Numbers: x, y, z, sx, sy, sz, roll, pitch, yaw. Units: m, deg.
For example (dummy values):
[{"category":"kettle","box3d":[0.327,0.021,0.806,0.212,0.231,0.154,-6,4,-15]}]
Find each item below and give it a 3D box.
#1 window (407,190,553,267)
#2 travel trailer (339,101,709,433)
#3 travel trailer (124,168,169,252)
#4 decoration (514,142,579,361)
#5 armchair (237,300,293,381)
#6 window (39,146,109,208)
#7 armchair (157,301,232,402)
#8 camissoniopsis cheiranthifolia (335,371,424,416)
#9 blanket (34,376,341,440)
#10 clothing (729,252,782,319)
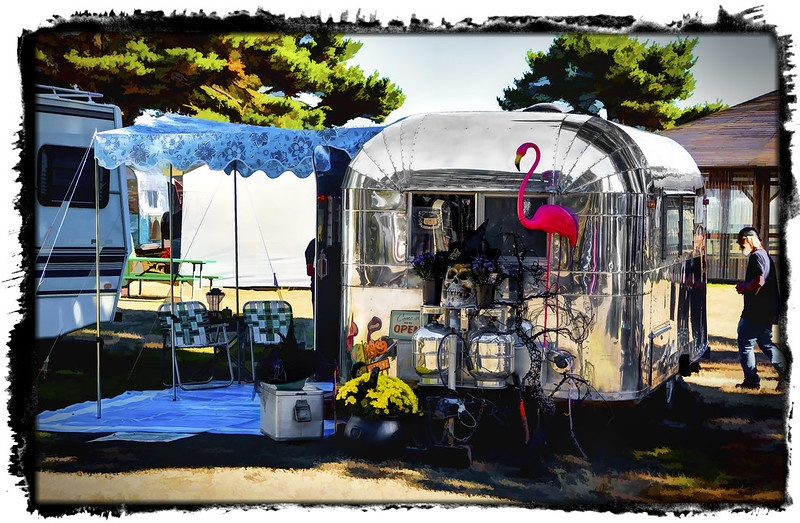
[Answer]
[{"category":"window","box3d":[0.929,-0.374,9.893,1.748,1.005,0.094,0,-17,16]},{"category":"travel trailer","box3d":[1.656,0.528,12.864,3.955,4.727,6.691,1,-8,16]},{"category":"travel trailer","box3d":[-6.404,-1.355,20.380,0.913,1.757,0.944,2,12,5]},{"category":"decoration","box3d":[1.792,-0.371,9.790,0.747,2.210,0.457,2,38,17]},{"category":"armchair","box3d":[-1.895,1.093,11.737,0.808,1.077,0.844,-2,-1,3]},{"category":"window","box3d":[-4.984,-1.276,12.376,1.007,0.919,0.078,2,3,-11]},{"category":"armchair","box3d":[-2.881,1.184,11.420,0.909,1.292,1.022,-5,-4,-15]},{"category":"camissoniopsis cheiranthifolia","box3d":[-0.292,1.591,9.665,0.581,0.239,0.617,5,7,9]},{"category":"blanket","box3d":[-3.161,1.983,10.846,2.753,0.093,1.718,0,11,-6]},{"category":"clothing","box3d":[5.232,0.364,11.881,0.564,1.070,0.362,5,11,21]}]
